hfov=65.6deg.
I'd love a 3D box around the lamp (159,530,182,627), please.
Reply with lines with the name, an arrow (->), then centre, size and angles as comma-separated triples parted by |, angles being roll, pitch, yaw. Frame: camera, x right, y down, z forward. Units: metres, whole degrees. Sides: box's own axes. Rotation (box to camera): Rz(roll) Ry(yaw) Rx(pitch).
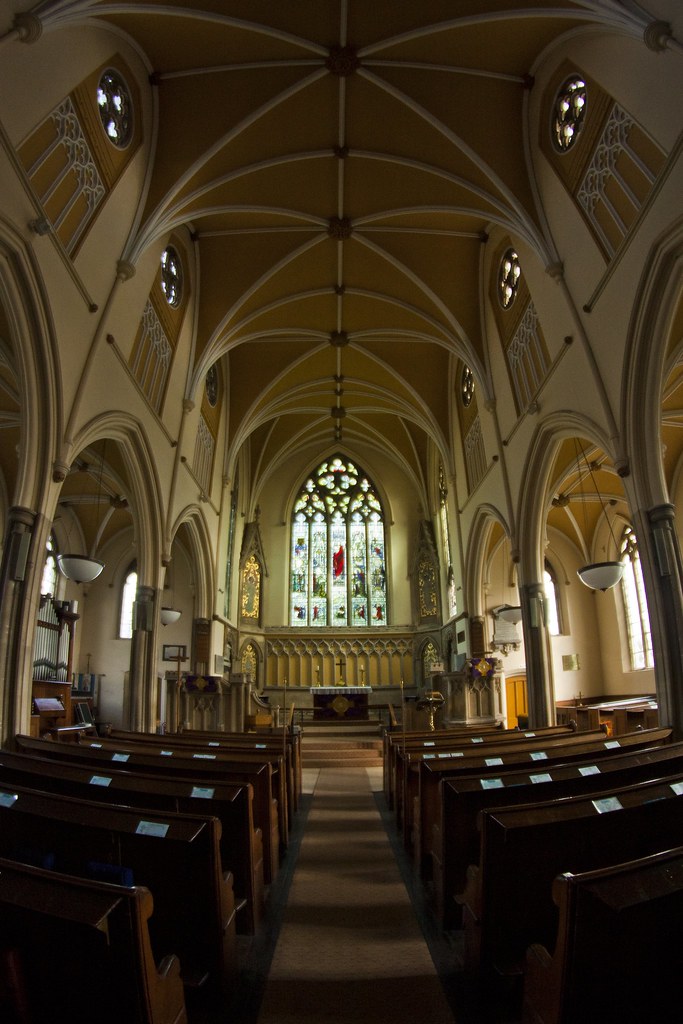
lamp -> -4.372, 1.740, 13.198 | 0.569, 2.216, 0.649 | -6, -9, 5

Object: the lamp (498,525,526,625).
lamp -> 4.713, 1.833, 14.435 | 0.737, 2.437, 0.766 | 10, -6, -29
